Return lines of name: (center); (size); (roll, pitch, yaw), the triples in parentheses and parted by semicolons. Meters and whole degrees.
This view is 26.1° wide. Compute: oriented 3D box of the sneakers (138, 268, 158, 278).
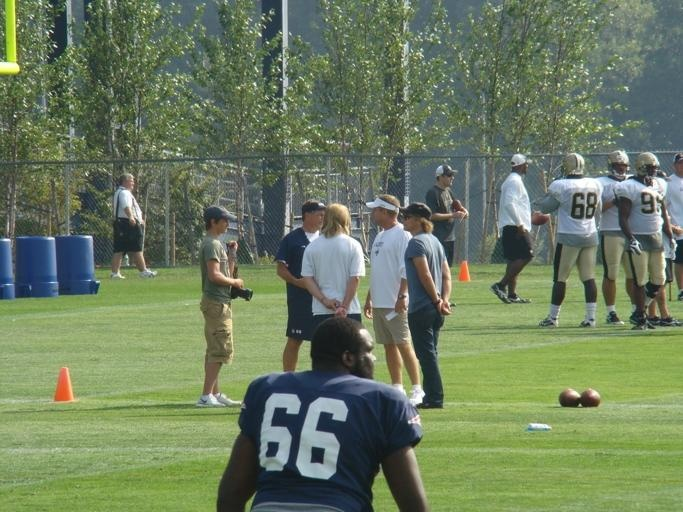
sneakers: (-4.204, 0.365, 31.728); (0.384, 0.176, 0.147); (0, 7, 17)

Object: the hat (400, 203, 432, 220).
hat: (1.046, -0.636, 20.883); (0.335, 0.167, 0.225); (6, 1, 2)

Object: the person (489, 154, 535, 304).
person: (3.216, -0.554, 28.006); (0.783, 2.834, 1.095); (-1, -1, 5)

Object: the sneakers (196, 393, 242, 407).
sneakers: (-1.742, 2.002, 20.840); (0.626, 0.269, 0.236); (1, -5, 2)

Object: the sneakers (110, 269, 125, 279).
sneakers: (-4.877, 0.402, 32.243); (0.420, 0.188, 0.142); (0, 31, -31)

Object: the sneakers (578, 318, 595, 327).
sneakers: (4.276, 1.135, 25.637); (0.229, 0.152, 0.123); (4, 5, 39)

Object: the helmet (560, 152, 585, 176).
helmet: (4.064, -1.603, 25.820); (0.325, 0.417, 0.435); (-1, 0, -25)

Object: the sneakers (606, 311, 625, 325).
sneakers: (4.813, 1.064, 25.902); (0.393, 0.252, 0.142); (-3, 5, -44)

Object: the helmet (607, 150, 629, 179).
helmet: (4.937, -1.589, 26.032); (0.376, 0.494, 0.533); (1, -1, -5)

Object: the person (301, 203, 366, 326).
person: (-0.144, 0.086, 20.730); (0.872, 1.661, 0.513); (-1, -1, -3)

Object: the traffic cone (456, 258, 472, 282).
traffic cone: (2.763, 0.323, 32.790); (0.403, 0.475, 0.412); (-1, -1, -1)

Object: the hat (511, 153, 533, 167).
hat: (3.360, -1.790, 27.630); (0.329, 0.193, 0.250); (-6, 13, -17)

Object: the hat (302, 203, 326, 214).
hat: (-0.431, -0.709, 21.223); (0.242, 0.125, 0.175); (-4, 4, -29)

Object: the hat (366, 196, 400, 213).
hat: (0.597, -0.737, 21.114); (0.349, 0.120, 0.226); (6, -1, 9)

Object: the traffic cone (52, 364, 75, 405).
traffic cone: (-4.041, 1.821, 21.294); (0.305, 0.476, 0.542); (-1, -1, -12)

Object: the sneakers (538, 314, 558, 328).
sneakers: (3.609, 1.128, 25.737); (0.139, 0.194, 0.376); (-2, 2, -41)

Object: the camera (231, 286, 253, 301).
camera: (-1.453, 0.522, 21.067); (0.236, 0.159, 0.181); (7, -5, 12)

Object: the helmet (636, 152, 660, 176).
helmet: (5.250, -1.589, 25.462); (0.384, 0.415, 0.341); (6, 13, 33)

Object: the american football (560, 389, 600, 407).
american football: (3.299, 1.939, 20.460); (0.563, 0.243, 0.286); (-1, -1, 7)

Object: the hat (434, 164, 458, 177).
hat: (2.002, -1.645, 28.518); (0.362, 0.199, 0.278); (-5, 6, 1)

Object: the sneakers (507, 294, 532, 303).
sneakers: (3.417, 0.793, 28.550); (0.464, 0.221, 0.173); (1, 3, -3)

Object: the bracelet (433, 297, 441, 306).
bracelet: (1.314, 0.616, 20.613); (0.083, 0.041, 0.100); (2, 14, 12)

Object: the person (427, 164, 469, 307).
person: (2.094, -0.522, 28.629); (0.729, 2.403, 0.924); (6, 11, 36)

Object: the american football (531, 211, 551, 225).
american football: (3.499, -0.642, 25.903); (0.289, 0.231, 0.261); (1, 10, -11)
